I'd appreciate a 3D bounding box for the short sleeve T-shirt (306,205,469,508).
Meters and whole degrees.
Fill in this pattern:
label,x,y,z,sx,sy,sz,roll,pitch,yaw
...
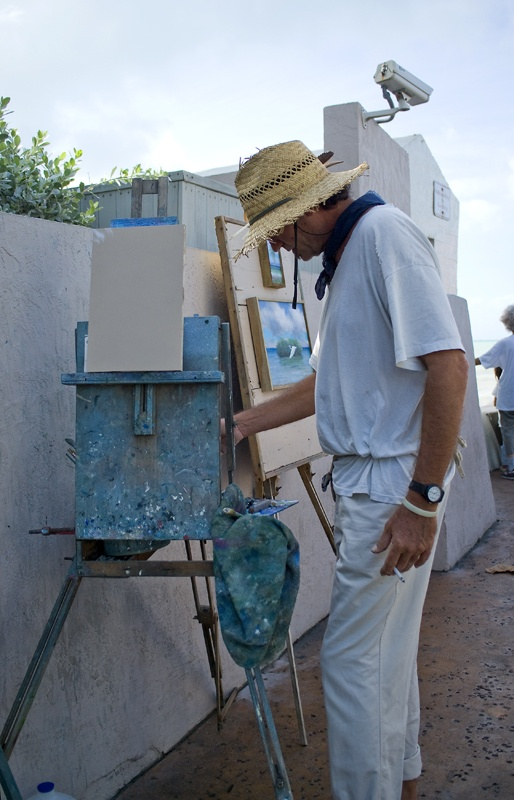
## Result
label,x,y,z,sx,sy,sz,roll,pitch,yaw
short sleeve T-shirt,0.291,-0.116,1.909,0.170,0.718,0.451,-5,6,-40

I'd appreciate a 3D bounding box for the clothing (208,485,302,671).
label,x,y,z,sx,sy,sz,roll,pitch,yaw
clothing,-0.009,0.390,1.730,0.179,0.373,0.173,1,5,13

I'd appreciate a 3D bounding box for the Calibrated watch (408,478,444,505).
label,x,y,z,sx,sy,sz,roll,pitch,yaw
Calibrated watch,0.380,0.206,1.736,0.063,0.042,0.072,1,-16,40
